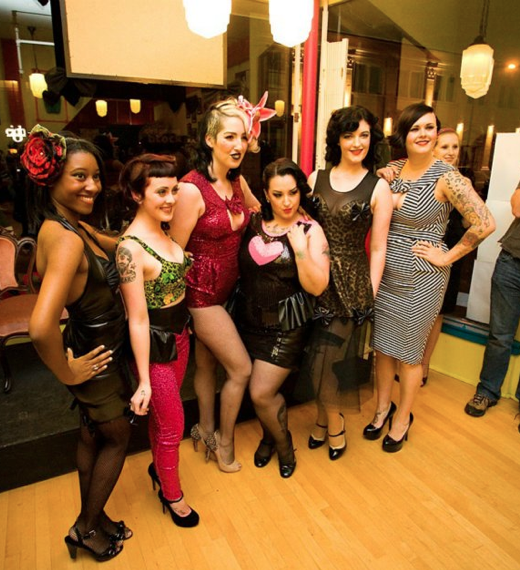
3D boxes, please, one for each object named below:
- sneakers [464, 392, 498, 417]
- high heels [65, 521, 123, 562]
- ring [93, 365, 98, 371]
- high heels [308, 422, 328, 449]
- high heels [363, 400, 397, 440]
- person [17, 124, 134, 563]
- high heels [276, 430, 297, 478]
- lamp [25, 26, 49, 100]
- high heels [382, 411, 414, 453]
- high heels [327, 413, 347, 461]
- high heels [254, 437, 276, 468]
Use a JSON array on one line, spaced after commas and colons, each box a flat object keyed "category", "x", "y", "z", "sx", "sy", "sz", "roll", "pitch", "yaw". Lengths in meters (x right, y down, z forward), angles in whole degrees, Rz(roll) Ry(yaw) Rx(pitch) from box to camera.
[{"category": "sneakers", "x": 1.393, "y": 0.739, "z": 2.712, "sx": 0.265, "sy": 0.095, "sz": 0.091, "roll": -9, "pitch": 24, "yaw": -34}, {"category": "high heels", "x": -0.608, "y": 0.955, "z": 1.604, "sx": 0.228, "sy": 0.096, "sz": 0.123, "roll": 19, "pitch": 29, "yaw": -19}, {"category": "ring", "x": -0.531, "y": 0.268, "z": 1.384, "sx": 0.014, "sy": 0.016, "sz": 0.005, "roll": 1, "pitch": 7, "yaw": -25}, {"category": "high heels", "x": 0.323, "y": 0.824, "z": 2.344, "sx": 0.068, "sy": 0.072, "sz": 0.193, "roll": 2, "pitch": 7, "yaw": 19}, {"category": "high heels", "x": 0.689, "y": 0.808, "z": 2.475, "sx": 0.277, "sy": 0.115, "sz": 0.088, "roll": -6, "pitch": 0, "yaw": -38}, {"category": "person", "x": -0.592, "y": 0.278, "z": 1.476, "sx": 0.265, "sy": 1.558, "sz": 0.542, "roll": -3, "pitch": 15, "yaw": -11}, {"category": "high heels", "x": 0.139, "y": 0.835, "z": 2.128, "sx": 0.083, "sy": 0.225, "sz": 0.094, "roll": -7, "pitch": 0, "yaw": 15}, {"category": "lamp", "x": -1.090, "y": -1.056, "z": 2.088, "sx": 0.079, "sy": 0.277, "sz": 0.045, "roll": -6, "pitch": 16, "yaw": -23}, {"category": "high heels", "x": 0.736, "y": 0.796, "z": 2.341, "sx": 0.098, "sy": 0.259, "sz": 0.120, "roll": 14, "pitch": 5, "yaw": 32}, {"category": "high heels", "x": 0.404, "y": 0.794, "z": 2.272, "sx": 0.091, "sy": 0.242, "sz": 0.079, "roll": -1, "pitch": -1, "yaw": 37}, {"category": "high heels", "x": 0.031, "y": 0.845, "z": 2.197, "sx": 0.066, "sy": 0.071, "sz": 0.191, "roll": 7, "pitch": 20, "yaw": 13}]
